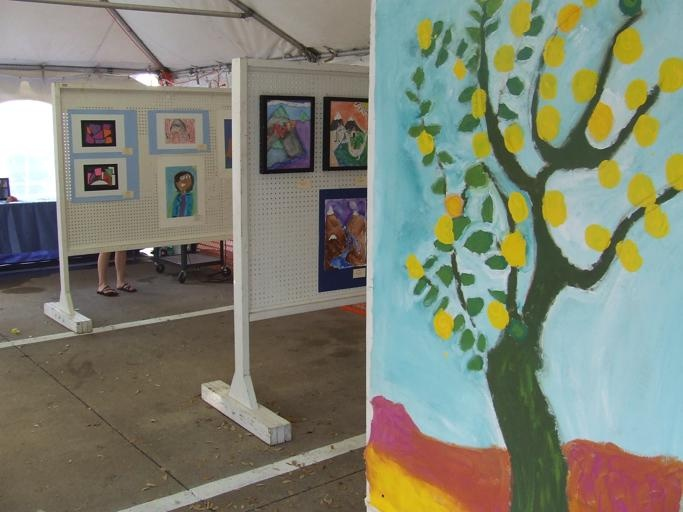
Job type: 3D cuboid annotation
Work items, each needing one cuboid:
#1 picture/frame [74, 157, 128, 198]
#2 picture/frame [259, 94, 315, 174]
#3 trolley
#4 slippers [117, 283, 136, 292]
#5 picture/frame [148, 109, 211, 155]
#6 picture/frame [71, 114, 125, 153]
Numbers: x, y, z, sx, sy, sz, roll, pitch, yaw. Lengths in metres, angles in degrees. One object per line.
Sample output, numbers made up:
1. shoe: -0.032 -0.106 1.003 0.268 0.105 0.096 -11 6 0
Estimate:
1. picture/frame: -2.507 -0.813 5.855 0.401 0.329 0.044 -2 7 -11
2. picture/frame: -0.399 -0.861 3.979 0.531 0.710 0.074 -4 6 -36
3. trolley: -2.322 -0.156 8.547 0.802 0.854 1.196 -6 8 -39
4. slippers: -2.822 0.397 7.450 0.223 0.096 0.111 3 8 17
5. picture/frame: -1.766 -1.329 6.070 0.477 0.351 0.022 -4 10 -23
6. picture/frame: -2.511 -1.236 5.832 0.039 0.403 0.535 19 22 34
